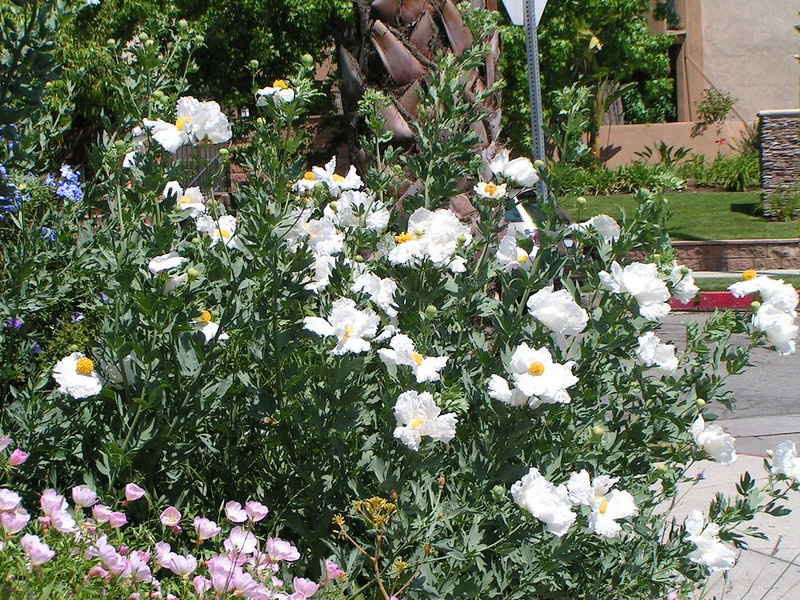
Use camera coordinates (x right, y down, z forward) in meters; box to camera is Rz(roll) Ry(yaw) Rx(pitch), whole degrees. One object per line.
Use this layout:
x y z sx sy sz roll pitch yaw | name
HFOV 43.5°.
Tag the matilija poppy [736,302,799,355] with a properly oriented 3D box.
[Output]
1.526 0.111 4.082 0.181 0.202 0.282 9 14 19 | matilija poppy
